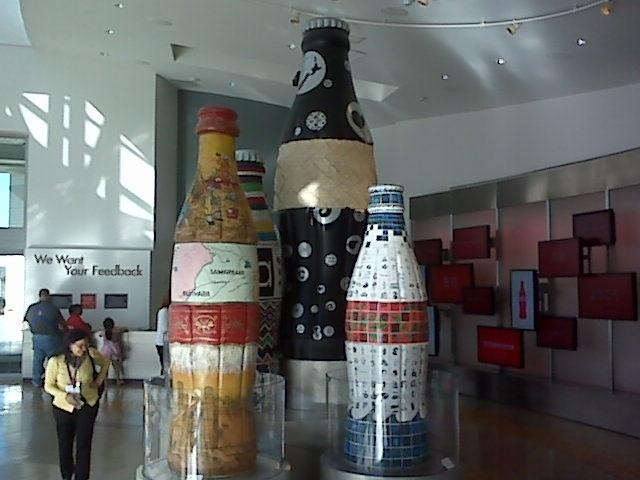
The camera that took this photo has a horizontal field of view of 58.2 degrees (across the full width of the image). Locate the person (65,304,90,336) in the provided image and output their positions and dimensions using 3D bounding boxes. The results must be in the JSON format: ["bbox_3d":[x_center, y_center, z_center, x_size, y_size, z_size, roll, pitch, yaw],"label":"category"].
[{"bbox_3d":[-4.328,1.608,10.256,0.430,0.881,0.350,1,5,-25],"label":"person"}]
